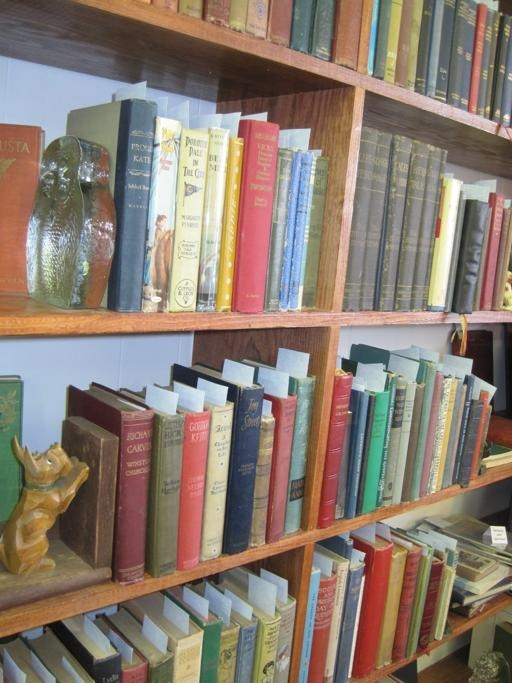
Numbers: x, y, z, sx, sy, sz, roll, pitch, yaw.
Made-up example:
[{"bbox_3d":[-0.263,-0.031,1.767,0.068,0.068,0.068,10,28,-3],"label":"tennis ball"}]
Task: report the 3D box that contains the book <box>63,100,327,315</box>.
[{"bbox_3d":[-0.060,-0.196,0.857,0.398,0.290,0.167,-4,11,-42],"label":"book"}]
